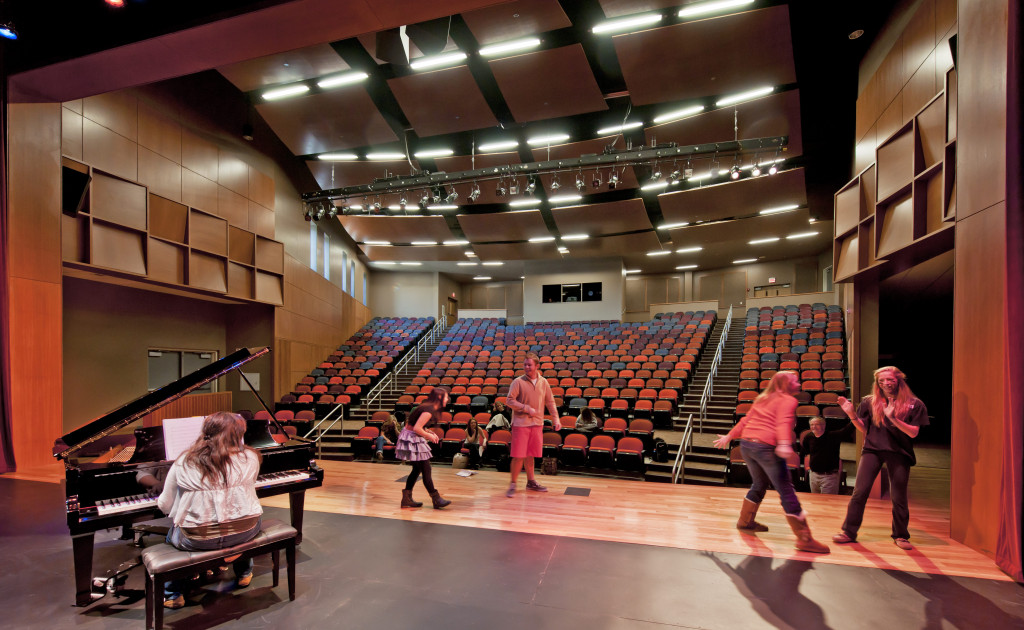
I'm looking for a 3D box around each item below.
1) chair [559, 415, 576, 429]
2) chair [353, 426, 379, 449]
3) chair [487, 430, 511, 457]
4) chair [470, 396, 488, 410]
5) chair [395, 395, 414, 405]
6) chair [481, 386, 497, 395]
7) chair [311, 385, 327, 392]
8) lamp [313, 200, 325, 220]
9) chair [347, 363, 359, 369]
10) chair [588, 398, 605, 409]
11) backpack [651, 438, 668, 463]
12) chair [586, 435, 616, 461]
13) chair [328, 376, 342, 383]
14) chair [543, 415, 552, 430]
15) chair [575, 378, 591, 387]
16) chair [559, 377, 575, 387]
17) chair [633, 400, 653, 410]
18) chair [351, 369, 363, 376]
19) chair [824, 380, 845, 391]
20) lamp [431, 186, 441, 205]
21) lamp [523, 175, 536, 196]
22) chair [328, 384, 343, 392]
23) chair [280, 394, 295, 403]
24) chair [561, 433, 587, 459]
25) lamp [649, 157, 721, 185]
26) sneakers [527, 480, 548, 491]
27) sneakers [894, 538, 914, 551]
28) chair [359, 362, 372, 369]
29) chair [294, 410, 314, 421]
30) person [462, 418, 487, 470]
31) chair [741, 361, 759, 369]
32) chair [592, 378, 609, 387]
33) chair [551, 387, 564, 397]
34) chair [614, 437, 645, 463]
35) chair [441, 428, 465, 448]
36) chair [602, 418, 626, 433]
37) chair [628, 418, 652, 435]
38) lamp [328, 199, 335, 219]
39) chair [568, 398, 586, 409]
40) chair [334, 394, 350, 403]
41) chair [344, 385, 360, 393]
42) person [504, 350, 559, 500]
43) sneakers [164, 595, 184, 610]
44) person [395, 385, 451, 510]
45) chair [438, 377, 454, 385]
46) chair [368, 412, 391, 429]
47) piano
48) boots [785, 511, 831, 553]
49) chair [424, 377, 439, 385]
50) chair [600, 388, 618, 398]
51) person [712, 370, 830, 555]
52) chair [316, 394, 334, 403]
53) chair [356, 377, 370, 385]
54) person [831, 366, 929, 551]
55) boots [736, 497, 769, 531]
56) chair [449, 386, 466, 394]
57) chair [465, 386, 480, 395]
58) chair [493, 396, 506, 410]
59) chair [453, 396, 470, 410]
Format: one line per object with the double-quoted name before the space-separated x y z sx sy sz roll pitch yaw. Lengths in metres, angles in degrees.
"chair" 1.142 2.146 13.686 0.338 0.266 0.862 -2 -9 4
"chair" -2.979 2.489 13.973 0.477 0.433 0.400 -1 -13 10
"chair" -0.202 2.480 13.152 0.471 0.505 0.495 -1 -19 9
"chair" -0.737 1.958 15.241 0.250 0.337 0.314 -1 -35 4
"chair" -2.481 1.992 15.764 0.271 0.245 0.266 1 -18 1
"chair" -0.532 1.796 16.152 0.362 0.235 0.352 -1 -9 -3
"chair" -4.734 1.816 16.723 0.201 0.193 0.196 3 -16 -4
"lamp" -4.729 -2.559 16.535 0.287 0.423 0.251 1 -8 -12
"chair" -4.373 1.374 18.642 0.268 0.193 0.367 1 -9 -14
"chair" 1.852 1.932 14.799 0.394 0.244 0.200 0 -8 -10
"backpack" 2.774 2.548 12.743 0.321 0.435 0.418 4 -18 -4
"chair" 1.661 2.472 12.657 0.460 0.438 0.397 0 -14 12
"chair" -4.479 1.637 17.236 0.300 0.209 0.454 1 -9 -14
"chair" 0.742 2.196 13.799 0.282 0.222 0.273 2 -30 2
"chair" 1.725 1.632 16.531 0.372 0.224 0.468 -2 -9 5
"chair" 1.342 1.630 16.500 0.381 0.220 0.522 -1 -9 1
"chair" 2.816 1.940 14.612 0.409 0.222 0.158 -3 -8 10
"chair" -4.098 1.507 17.959 0.318 0.183 0.260 -2 -9 6
"chair" 6.995 1.531 14.681 0.314 0.296 0.255 -5 -12 12
"lamp" -1.773 -2.828 15.805 0.142 0.383 0.399 0 -8 -6
"lamp" 0.412 -2.967 15.361 0.167 0.419 0.476 0 -8 -5
"chair" -4.364 1.813 16.852 0.312 0.215 0.321 1 -9 -16
"chair" -5.261 1.943 15.905 0.193 0.250 0.220 3 -7 -8
"chair" 1.230 2.490 12.882 0.435 0.515 0.442 -2 -24 12
"lamp" 4.128 -3.580 16.654 1.835 0.668 1.186 -5 6 -7
"sneakers" 0.408 2.781 11.074 0.315 0.129 0.145 0 -4 8
"sneakers" 5.390 3.143 9.337 0.241 0.164 0.150 -4 -8 17
"chair" -3.994 1.369 18.611 0.350 0.196 0.361 1 -9 -13
"chair" -4.538 2.207 14.966 0.292 0.267 0.288 2 -28 0
"person" -0.696 2.476 12.858 0.565 0.794 0.285 9 4 38
"chair" 5.794 1.226 16.554 0.377 0.198 0.374 -4 -9 18
"chair" 2.168 1.625 16.580 0.416 0.189 0.252 -2 -9 6
"chair" 1.073 1.769 15.671 0.195 0.165 0.194 2 -3 3
"chair" 2.146 2.467 12.502 0.466 0.453 0.412 -2 -17 18
"chair" -1.136 2.396 13.331 0.392 0.375 0.340 0 -15 8
"chair" 1.983 2.143 13.213 0.485 0.271 0.398 -3 -9 13
"chair" 2.506 2.164 13.148 0.347 0.328 0.291 -2 -29 15
"lamp" -4.402 -2.618 16.558 0.157 0.326 0.275 -6 -10 -3
"chair" 1.410 1.919 14.789 0.376 0.268 0.379 -2 -9 5
"chair" -3.968 1.953 15.880 0.220 0.215 0.256 -1 7 13
"chair" -3.923 1.827 16.713 0.206 0.119 0.202 1 -12 -2
"person" 0.315 1.852 11.351 0.852 2.208 1.485 -1 -8 0
"sneakers" -4.238 3.609 8.508 0.261 0.110 0.119 20 -23 -40
"person" -1.423 2.104 10.725 0.800 1.822 1.476 0 -8 -8
"chair" -1.664 1.677 17.300 0.232 0.142 0.225 0 -14 4
"chair" -2.709 2.147 13.880 0.482 0.296 0.472 0 -11 2
"piano" -4.840 2.058 10.083 3.437 3.191 3.389 5 -12 -33
"boots" 4.017 3.010 9.284 0.709 0.674 0.340 -3 -7 3
"chair" -2.023 1.701 17.375 0.197 0.227 0.198 0 -17 2
"chair" 2.255 1.796 15.732 0.375 0.279 0.585 -2 -9 7
"person" 3.641 2.028 9.568 1.142 2.502 0.869 -3 -8 17
"chair" -4.365 1.971 15.898 0.232 0.200 0.223 1 -13 3
"chair" -3.849 1.660 17.338 0.307 0.235 0.440 -3 -9 16
"person" 5.099 1.956 9.361 1.108 2.459 0.628 -3 -7 13
"boots" 3.533 2.905 9.941 0.561 0.539 0.297 -1 3 -18
"chair" -1.317 1.816 16.540 0.493 0.230 0.264 -7 -10 32
"chair" -0.944 1.800 16.321 0.414 0.211 0.290 -4 -9 18
"chair" -0.261 1.932 14.973 0.316 0.269 0.317 -3 -6 18
"chair" -1.131 1.964 15.350 0.321 0.303 0.309 1 -26 3
